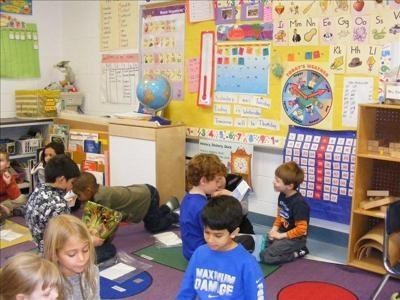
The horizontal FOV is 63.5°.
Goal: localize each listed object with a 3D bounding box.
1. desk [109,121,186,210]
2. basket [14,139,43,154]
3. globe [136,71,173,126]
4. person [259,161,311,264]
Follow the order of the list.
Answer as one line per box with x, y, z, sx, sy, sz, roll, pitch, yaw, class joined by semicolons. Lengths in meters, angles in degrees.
-0.639;0.164;4.013;0.832;1.094;0.632;9;16;26;desk
-2.328;-0.060;4.452;0.202;0.194;0.296;4;8;41;basket
-0.531;-0.620;3.961;0.442;0.615;0.381;-1;19;-14;globe
0.777;0.573;2.943;0.443;0.903;0.428;-6;21;-30;person
